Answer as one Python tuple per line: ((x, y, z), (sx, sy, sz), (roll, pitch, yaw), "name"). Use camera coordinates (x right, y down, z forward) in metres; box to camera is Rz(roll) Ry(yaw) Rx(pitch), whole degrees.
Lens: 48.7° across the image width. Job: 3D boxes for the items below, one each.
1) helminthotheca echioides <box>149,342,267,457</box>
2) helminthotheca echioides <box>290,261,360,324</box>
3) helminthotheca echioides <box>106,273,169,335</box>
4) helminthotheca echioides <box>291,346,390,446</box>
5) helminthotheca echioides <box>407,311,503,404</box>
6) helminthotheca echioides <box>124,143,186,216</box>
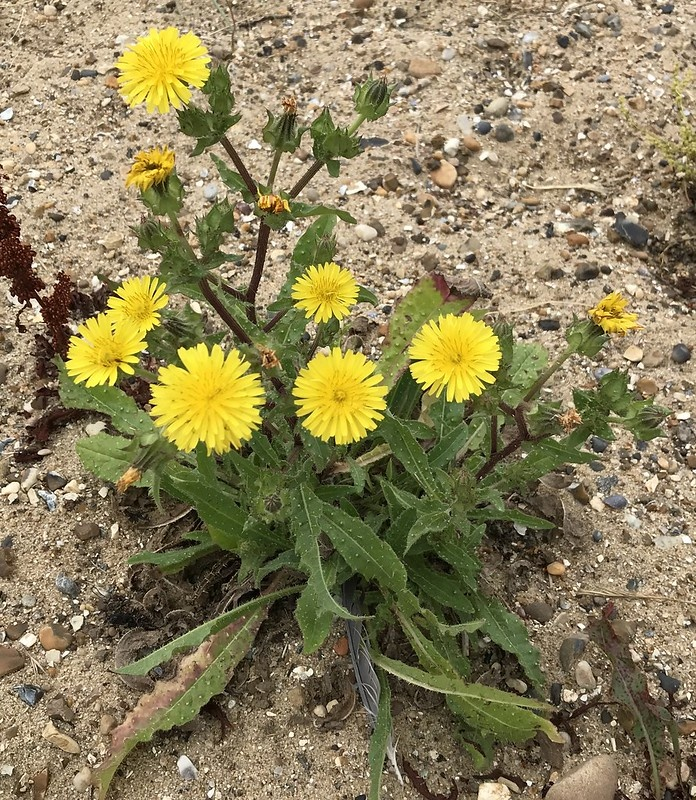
((-0.303, 0.003, 1.692), (0.236, 0.217, 0.196), (-9, 42, -8), "helminthotheca echioides")
((-0.058, -0.250, 1.979), (0.164, 0.222, 0.217), (-3, 41, -1), "helminthotheca echioides")
((-0.511, -0.238, 1.903), (0.166, 0.065, 0.152), (5, 69, 16), "helminthotheca echioides")
((-0.013, 0.029, 1.809), (0.207, 0.279, 0.216), (10, 43, 14), "helminthotheca echioides")
((0.257, -0.078, 1.835), (0.224, 0.091, 0.210), (25, 87, 14), "helminthotheca echioides")
((-0.438, -0.533, 1.864), (0.168, 0.179, 0.149), (-2, 89, 8), "helminthotheca echioides")
